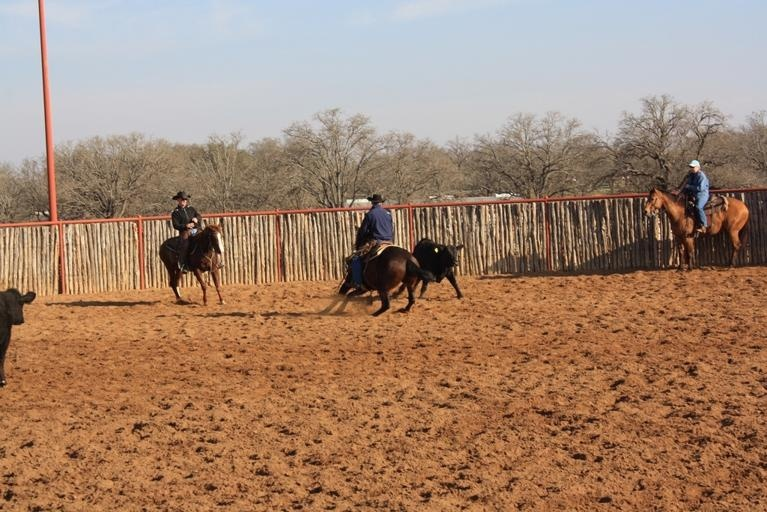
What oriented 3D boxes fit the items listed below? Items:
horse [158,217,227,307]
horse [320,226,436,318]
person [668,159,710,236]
[{"bbox_3d":[-4.770,0.279,18.438,2.870,1.936,0.852,-3,3,44],"label":"horse"},{"bbox_3d":[-0.099,0.511,15.531,2.256,1.638,0.727,6,14,38],"label":"horse"},{"bbox_3d":[7.804,-1.437,18.509,0.613,1.762,0.529,4,13,32],"label":"person"}]
